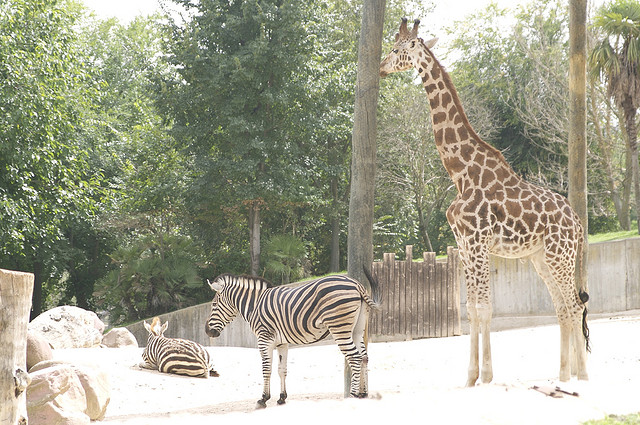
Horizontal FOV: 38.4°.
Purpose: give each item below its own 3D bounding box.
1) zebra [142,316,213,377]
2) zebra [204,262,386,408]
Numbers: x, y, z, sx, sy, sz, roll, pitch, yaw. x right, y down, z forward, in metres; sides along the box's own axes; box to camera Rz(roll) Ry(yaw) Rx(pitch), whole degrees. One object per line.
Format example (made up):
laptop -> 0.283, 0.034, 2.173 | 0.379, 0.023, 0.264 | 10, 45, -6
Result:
zebra -> -5.941, 5.565, 36.368 | 3.923, 2.187, 2.191 | 6, -6, 40
zebra -> -1.013, 4.271, 32.639 | 6.785, 5.159, 1.885 | -7, -6, 13
